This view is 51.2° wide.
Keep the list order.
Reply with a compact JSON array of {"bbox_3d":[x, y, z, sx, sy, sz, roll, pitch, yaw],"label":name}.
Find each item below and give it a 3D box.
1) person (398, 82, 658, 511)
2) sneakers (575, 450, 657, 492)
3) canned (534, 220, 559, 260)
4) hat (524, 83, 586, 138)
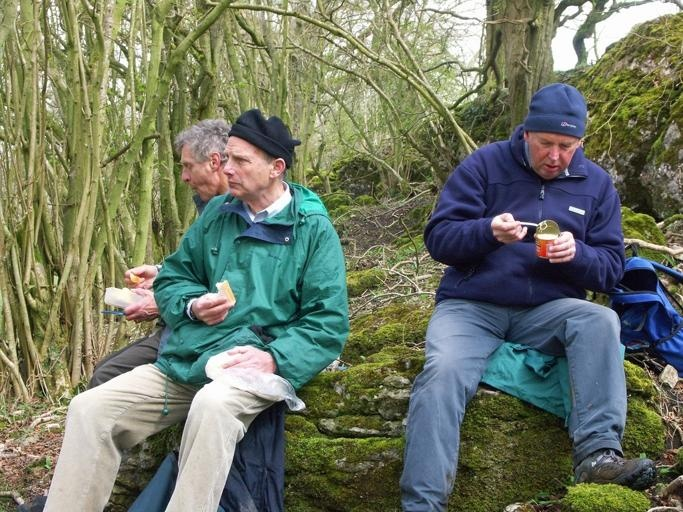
[{"bbox_3d":[1.013,0.142,4.019,1.200,2.358,1.092,0,2,14],"label":"person"},{"bbox_3d":[1.409,1.096,3.707,0.404,0.203,0.177,-14,-9,24],"label":"sneakers"},{"bbox_3d":[1.186,-0.108,4.103,0.134,0.213,0.147,1,2,16],"label":"canned"},{"bbox_3d":[1.262,-0.856,4.229,0.326,0.301,0.336,0,10,-33],"label":"hat"}]
